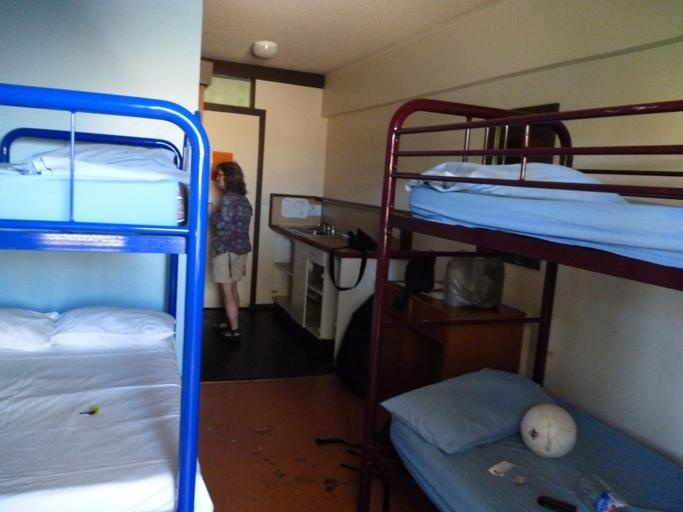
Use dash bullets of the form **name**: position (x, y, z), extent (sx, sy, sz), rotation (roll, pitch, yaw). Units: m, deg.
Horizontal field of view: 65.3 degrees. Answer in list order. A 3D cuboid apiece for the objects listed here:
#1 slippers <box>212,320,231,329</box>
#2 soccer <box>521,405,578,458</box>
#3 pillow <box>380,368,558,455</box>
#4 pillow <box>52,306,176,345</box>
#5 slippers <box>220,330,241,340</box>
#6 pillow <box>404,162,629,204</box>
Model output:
- **slippers**: position (-1.096, 0.628, 4.879), extent (0.141, 0.052, 0.076), rotation (6, -3, -22)
- **soccer**: position (0.956, 0.807, 2.453), extent (0.220, 0.209, 0.152), rotation (-1, 8, -12)
- **pillow**: position (0.603, 0.720, 2.581), extent (0.578, 0.144, 0.330), rotation (-2, 15, -36)
- **pillow**: position (-1.220, 0.388, 2.851), extent (0.331, 0.091, 0.322), rotation (6, 3, -12)
- **slippers**: position (-0.958, 0.680, 4.611), extent (0.071, 0.065, 0.159), rotation (-2, 9, -34)
- **pillow**: position (0.679, -0.329, 2.305), extent (0.911, 0.157, 0.444), rotation (7, 10, 43)
